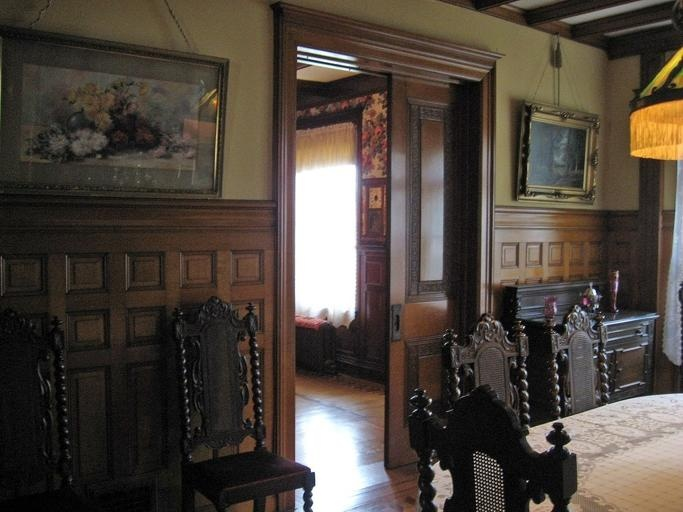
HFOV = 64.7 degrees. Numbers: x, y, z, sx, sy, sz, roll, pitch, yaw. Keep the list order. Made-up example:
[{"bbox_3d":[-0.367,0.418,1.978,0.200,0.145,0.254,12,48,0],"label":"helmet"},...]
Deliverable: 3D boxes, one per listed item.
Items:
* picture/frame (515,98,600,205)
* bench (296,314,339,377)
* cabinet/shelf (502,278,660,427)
[{"bbox_3d":[2.108,-0.961,5.203,1.208,0.966,0.085,-1,5,-30],"label":"picture/frame"},{"bbox_3d":[-0.397,1.149,7.302,0.365,0.712,0.982,0,1,-34],"label":"bench"},{"bbox_3d":[2.220,0.876,4.937,1.269,1.249,0.533,-7,6,-24],"label":"cabinet/shelf"}]
